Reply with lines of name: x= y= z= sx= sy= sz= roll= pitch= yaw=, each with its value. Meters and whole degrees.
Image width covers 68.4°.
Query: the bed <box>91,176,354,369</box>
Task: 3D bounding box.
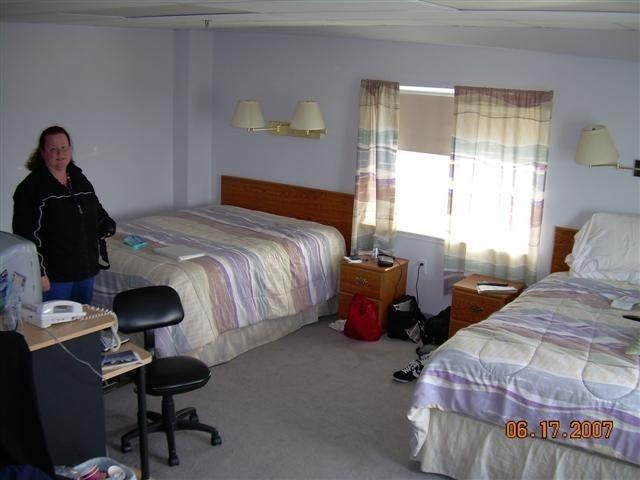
bed: x=-0.816 y=0.200 z=4.812 sx=2.054 sy=1.159 sz=2.068 roll=10 pitch=16 yaw=38

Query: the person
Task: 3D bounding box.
person: x=-1.850 y=-0.153 z=3.307 sx=0.518 sy=1.262 sz=0.222 roll=-6 pitch=12 yaw=-34

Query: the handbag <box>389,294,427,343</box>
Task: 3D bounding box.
handbag: x=0.876 y=0.762 z=4.927 sx=0.381 sy=0.472 sz=0.463 roll=1 pitch=6 yaw=42

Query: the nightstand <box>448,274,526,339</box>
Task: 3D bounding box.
nightstand: x=1.587 y=0.550 z=4.541 sx=0.556 sy=0.589 sz=0.605 roll=10 pitch=14 yaw=40

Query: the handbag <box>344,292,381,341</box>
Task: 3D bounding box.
handbag: x=0.418 y=0.769 z=4.701 sx=0.339 sy=0.447 sz=0.163 roll=-12 pitch=-11 yaw=7

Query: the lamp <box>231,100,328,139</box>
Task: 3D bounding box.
lamp: x=-0.424 y=-1.412 z=5.482 sx=1.052 sy=0.417 sz=0.610 roll=4 pitch=10 yaw=22

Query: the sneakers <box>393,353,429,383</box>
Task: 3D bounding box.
sneakers: x=0.838 y=1.122 z=4.149 sx=0.463 sy=0.172 sz=0.164 roll=-5 pitch=11 yaw=-44

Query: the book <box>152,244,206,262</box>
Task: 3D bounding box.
book: x=-1.307 y=0.110 z=4.324 sx=0.349 sy=0.084 sz=0.528 roll=-8 pitch=13 yaw=-44
